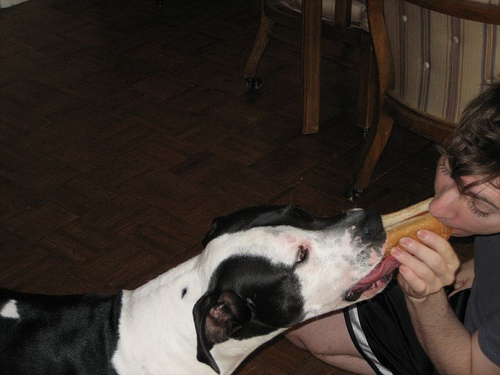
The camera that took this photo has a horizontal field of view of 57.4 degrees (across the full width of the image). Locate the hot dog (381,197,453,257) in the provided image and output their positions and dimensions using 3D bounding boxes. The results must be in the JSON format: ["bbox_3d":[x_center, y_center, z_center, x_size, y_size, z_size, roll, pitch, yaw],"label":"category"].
[{"bbox_3d":[0.405,0.093,1.190,0.269,0.081,0.084,-19,36,-22],"label":"hot dog"}]
